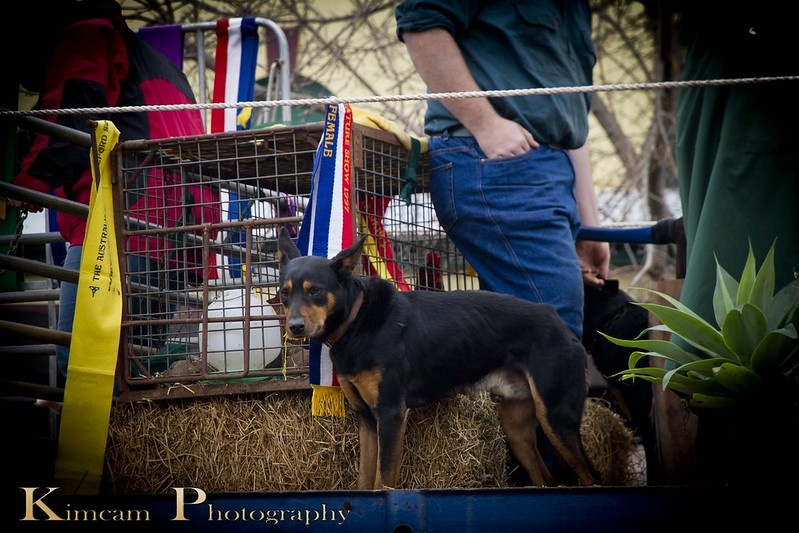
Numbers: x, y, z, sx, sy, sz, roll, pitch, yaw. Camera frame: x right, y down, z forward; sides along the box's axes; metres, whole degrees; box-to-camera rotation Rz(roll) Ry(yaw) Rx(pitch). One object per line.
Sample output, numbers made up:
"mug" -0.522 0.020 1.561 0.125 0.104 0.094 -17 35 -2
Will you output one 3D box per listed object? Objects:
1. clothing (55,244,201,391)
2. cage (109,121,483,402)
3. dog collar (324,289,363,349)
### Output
"clothing" -1.723 0.327 6.347 1.191 0.827 0.495 5 2 -23
"cage" -0.569 0.394 6.481 2.662 1.989 1.502 -1 -5 11
"dog collar" -0.276 0.284 5.484 0.063 0.261 0.208 22 -17 -10
